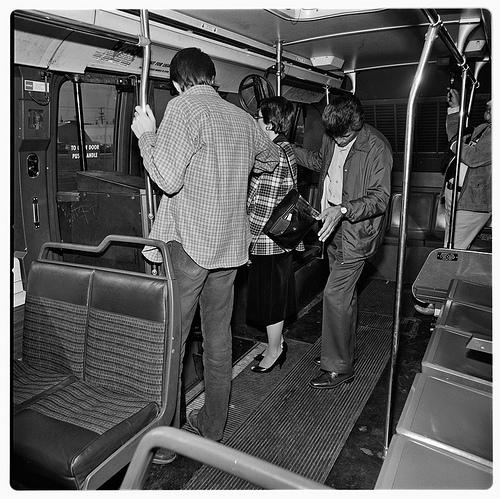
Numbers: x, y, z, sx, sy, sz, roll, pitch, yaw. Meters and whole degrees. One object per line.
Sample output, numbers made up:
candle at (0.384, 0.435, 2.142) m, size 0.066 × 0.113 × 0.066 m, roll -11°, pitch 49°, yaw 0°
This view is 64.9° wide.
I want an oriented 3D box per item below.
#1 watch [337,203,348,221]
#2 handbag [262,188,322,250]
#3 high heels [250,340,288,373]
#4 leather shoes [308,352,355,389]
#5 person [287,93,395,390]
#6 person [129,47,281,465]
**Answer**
watch at (0.624, -0.258, 2.645) m, size 0.068 × 0.081 × 0.064 m, roll 16°, pitch -9°, yaw -4°
handbag at (0.272, -0.291, 2.893) m, size 0.150 × 0.459 × 0.361 m, roll 18°, pitch -20°, yaw 45°
high heels at (0.162, 0.905, 3.327) m, size 0.289 × 0.239 × 0.170 m, roll -9°, pitch 15°, yaw -5°
leather shoes at (0.645, 0.968, 3.099) m, size 0.361 × 0.179 × 0.136 m, roll 3°, pitch 0°, yaw -30°
person at (0.614, -0.034, 3.094) m, size 0.711 × 2.195 × 0.899 m, roll -6°, pitch 14°, yaw -28°
person at (-0.252, -0.002, 2.276) m, size 0.647 × 2.116 × 0.557 m, roll -6°, pitch 13°, yaw -40°
